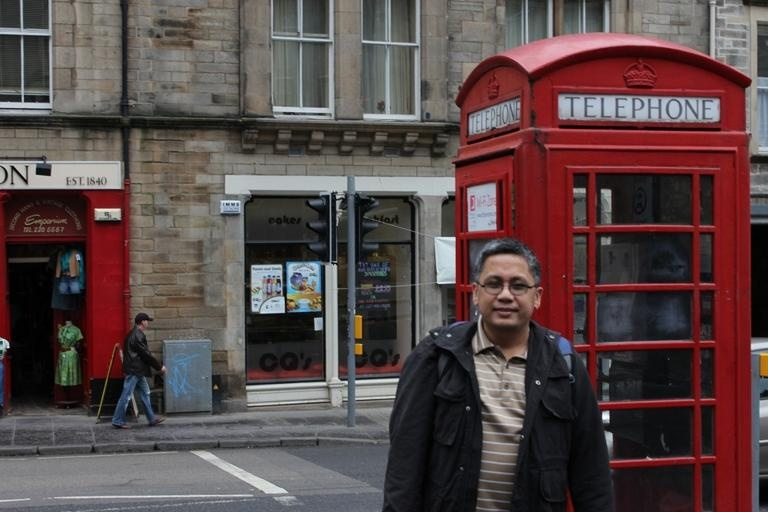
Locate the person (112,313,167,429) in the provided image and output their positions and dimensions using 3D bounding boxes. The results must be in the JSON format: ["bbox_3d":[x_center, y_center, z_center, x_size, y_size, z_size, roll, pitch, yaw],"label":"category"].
[{"bbox_3d":[-4.292,1.953,23.052,0.877,1.976,1.199,-1,8,-2],"label":"person"}]

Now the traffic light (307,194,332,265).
[{"bbox_3d":[-1.057,-0.486,22.164,0.455,1.096,0.742,-1,8,-3],"label":"traffic light"}]

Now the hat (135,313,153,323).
[{"bbox_3d":[-4.188,1.058,22.882,0.244,0.124,0.177,-4,7,-37],"label":"hat"}]

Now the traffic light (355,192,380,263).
[{"bbox_3d":[-0.299,-0.501,22.401,0.375,1.116,0.499,-1,9,0],"label":"traffic light"}]

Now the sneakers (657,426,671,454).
[{"bbox_3d":[3.118,2.038,14.657,0.220,0.346,0.082,0,9,5],"label":"sneakers"}]

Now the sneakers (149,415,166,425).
[{"bbox_3d":[-3.964,2.876,22.970,0.266,0.110,0.096,-16,13,-28],"label":"sneakers"}]

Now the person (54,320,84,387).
[{"bbox_3d":[-5.814,1.815,24.270,0.531,1.263,0.406,-3,9,-18],"label":"person"}]

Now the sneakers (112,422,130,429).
[{"bbox_3d":[-4.549,2.913,22.707,0.324,0.126,0.105,1,1,-4],"label":"sneakers"}]
